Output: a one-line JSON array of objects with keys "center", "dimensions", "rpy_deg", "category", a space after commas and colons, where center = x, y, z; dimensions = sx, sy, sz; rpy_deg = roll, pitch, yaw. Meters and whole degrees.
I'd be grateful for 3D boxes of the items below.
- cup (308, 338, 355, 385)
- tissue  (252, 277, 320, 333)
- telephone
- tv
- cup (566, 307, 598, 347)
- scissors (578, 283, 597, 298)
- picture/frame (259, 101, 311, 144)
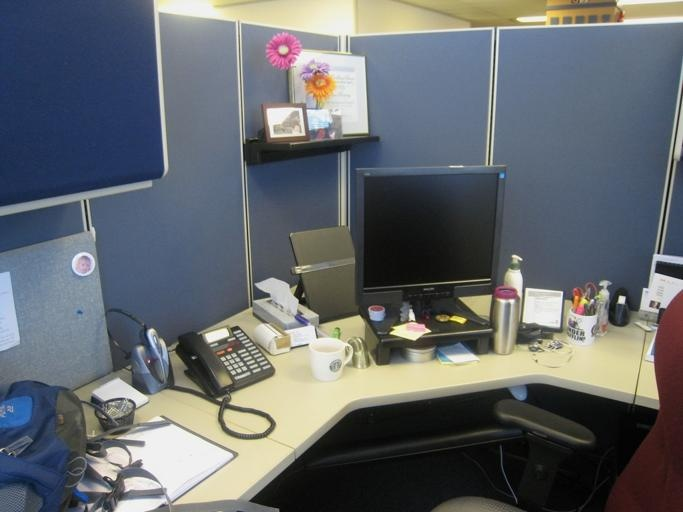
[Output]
[{"center": [-0.043, 0.341, 1.811], "dimensions": [0.148, 0.110, 0.116], "rpy_deg": [-4, 16, -22], "category": "cup"}, {"center": [-0.216, 0.114, 2.092], "dimensions": [0.166, 0.228, 0.318], "rpy_deg": [-15, 25, -38], "category": "tissue "}, {"center": [-0.395, 0.346, 1.842], "dimensions": [0.280, 0.113, 0.272], "rpy_deg": [-7, 26, -38], "category": "telephone"}, {"center": [0.318, -0.024, 1.947], "dimensions": [0.597, 0.532, 0.047], "rpy_deg": [-1, 8, -17], "category": "tv"}, {"center": [0.897, 0.268, 2.016], "dimensions": [0.128, 0.122, 0.094], "rpy_deg": [3, 9, 18], "category": "cup"}, {"center": [1.088, 0.151, 2.368], "dimensions": [0.042, 0.073, 0.072], "rpy_deg": [0, 20, -13], "category": "scissors"}, {"center": [-0.263, -0.598, 2.426], "dimensions": [0.191, 0.169, 0.067], "rpy_deg": [-7, 10, -28], "category": "picture/frame"}]
